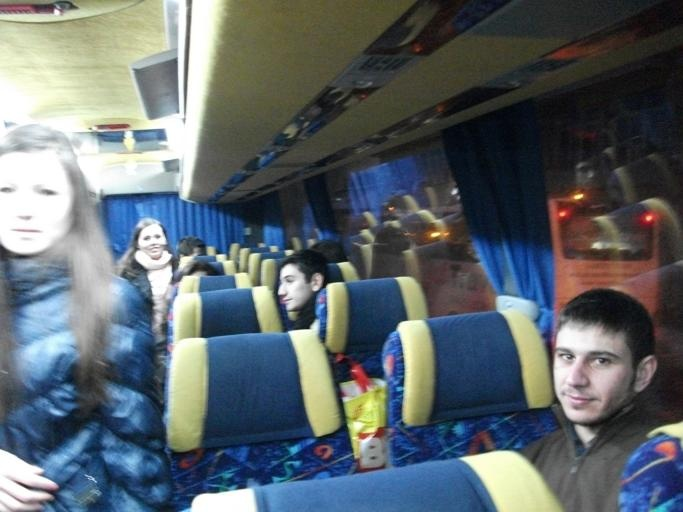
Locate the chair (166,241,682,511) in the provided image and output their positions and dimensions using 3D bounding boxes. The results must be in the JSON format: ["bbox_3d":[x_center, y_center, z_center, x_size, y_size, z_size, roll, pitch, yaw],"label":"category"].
[{"bbox_3d":[0.159,0.481,1.828,0.763,1.096,1.288,1,-24,-35],"label":"chair"}]

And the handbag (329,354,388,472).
[{"bbox_3d":[0.081,0.660,1.902,0.219,0.479,0.133,-9,19,-11],"label":"handbag"}]
